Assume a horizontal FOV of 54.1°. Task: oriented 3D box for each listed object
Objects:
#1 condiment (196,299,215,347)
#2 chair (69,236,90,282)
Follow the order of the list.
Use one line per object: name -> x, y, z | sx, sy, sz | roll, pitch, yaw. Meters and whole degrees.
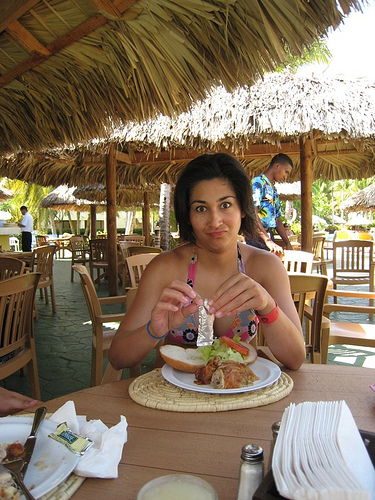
condiment -> 0.062, 0.248, 1.218 | 0.053, 0.173, 0.139 | 2, 6, 3
chair -> -2.867, 0.234, 10.356 | 0.884, 1.172, 0.831 | 6, 8, 24
